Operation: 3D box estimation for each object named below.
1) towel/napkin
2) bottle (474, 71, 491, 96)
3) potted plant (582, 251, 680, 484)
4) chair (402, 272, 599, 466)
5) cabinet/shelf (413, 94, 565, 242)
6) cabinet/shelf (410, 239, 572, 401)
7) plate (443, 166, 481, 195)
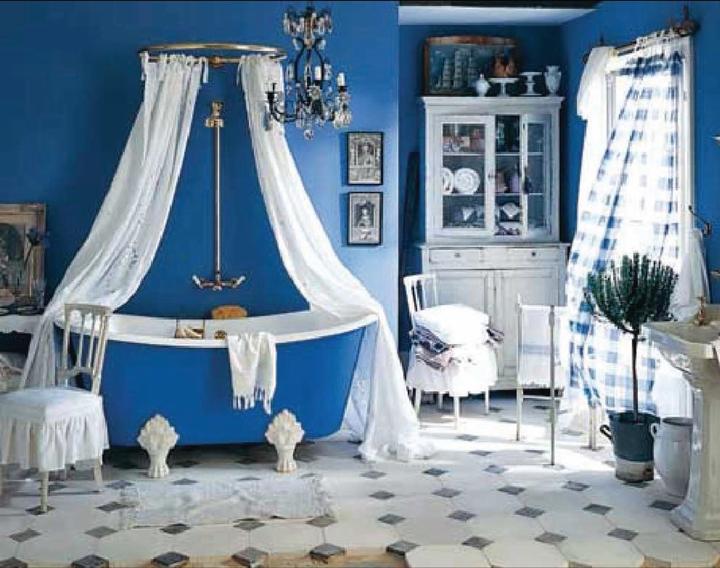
[{"bbox_3d":[-0.765,1.217,4.654,1.211,0.035,0.596,-1,11,-5],"label":"towel/napkin"},{"bbox_3d":[0.995,-1.619,6.603,0.118,0.187,0.195,2,11,9],"label":"bottle"},{"bbox_3d":[1.690,0.479,5.007,0.512,1.455,0.512,-2,1,2],"label":"potted plant"},{"bbox_3d":[1.000,0.507,5.994,1.232,1.075,1.456,1,11,3],"label":"chair"},{"bbox_3d":[1.045,-0.939,6.563,1.069,1.136,0.372,0,3,-7],"label":"cabinet/shelf"},{"bbox_3d":[0.958,0.264,6.027,1.146,1.218,0.457,0,0,-6],"label":"cabinet/shelf"},{"bbox_3d":[0.818,-0.828,6.558,0.299,0.218,0.073,-3,11,-15],"label":"plate"}]
